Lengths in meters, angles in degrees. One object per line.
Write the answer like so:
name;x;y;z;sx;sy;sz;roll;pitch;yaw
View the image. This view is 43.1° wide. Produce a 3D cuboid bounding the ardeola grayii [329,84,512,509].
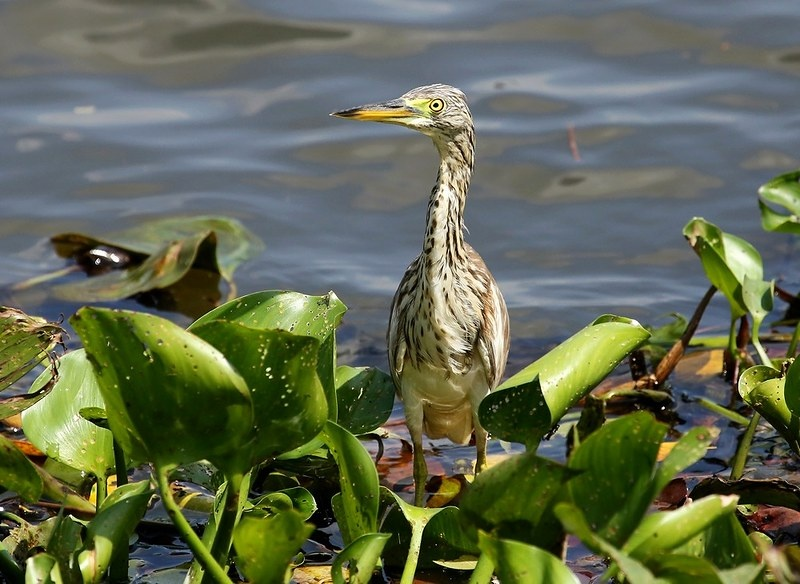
ardeola grayii;0.194;-0.011;4.629;0.635;1.821;0.717;-5;20;-1
